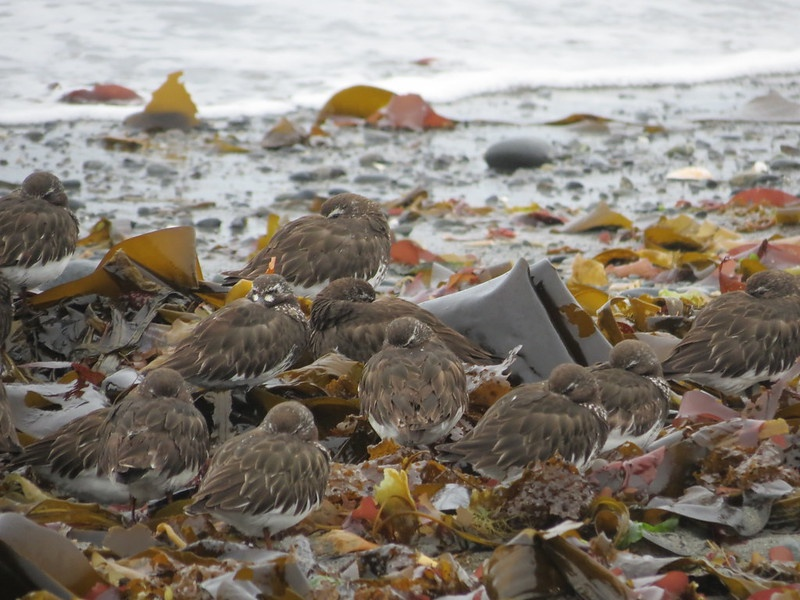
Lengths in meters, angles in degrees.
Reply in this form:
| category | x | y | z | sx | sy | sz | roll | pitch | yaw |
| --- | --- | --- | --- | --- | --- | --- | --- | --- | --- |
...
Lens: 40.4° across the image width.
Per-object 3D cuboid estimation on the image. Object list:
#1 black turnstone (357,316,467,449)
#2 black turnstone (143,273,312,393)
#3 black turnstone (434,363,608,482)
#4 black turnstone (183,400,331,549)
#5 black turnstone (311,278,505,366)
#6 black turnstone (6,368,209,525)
| category | x | y | z | sx | sy | sz | roll | pitch | yaw |
| --- | --- | --- | --- | --- | --- | --- | --- | --- | --- |
| black turnstone | 0.134 | 0.420 | 5.904 | 0.519 | 0.488 | 0.765 | -7 | 30 | 6 |
| black turnstone | -0.910 | 0.180 | 6.382 | 1.062 | 0.501 | 0.546 | -8 | 21 | -27 |
| black turnstone | 0.672 | 0.614 | 5.576 | 0.990 | 0.521 | 0.460 | -14 | 25 | -1 |
| black turnstone | -0.621 | 0.798 | 5.264 | 0.820 | 0.459 | 0.470 | -24 | 32 | -38 |
| black turnstone | -0.142 | 0.147 | 6.601 | 1.339 | 0.522 | 0.401 | -1 | 45 | 34 |
| black turnstone | -1.402 | 0.695 | 5.486 | 0.800 | 0.660 | 0.547 | 12 | 21 | 27 |
